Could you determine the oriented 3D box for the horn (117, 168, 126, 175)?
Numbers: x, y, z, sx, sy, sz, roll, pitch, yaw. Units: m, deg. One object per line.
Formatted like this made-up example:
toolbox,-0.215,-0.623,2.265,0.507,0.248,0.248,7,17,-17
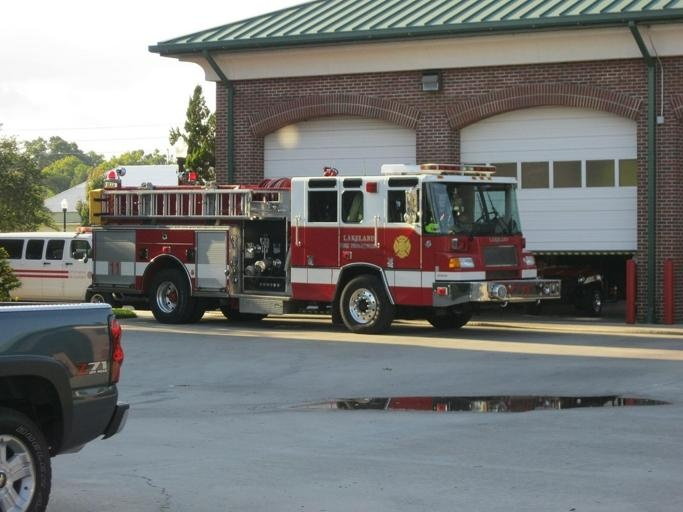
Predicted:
horn,-4.944,-1.886,26.179,0.194,0.191,0.063,1,7,-23
